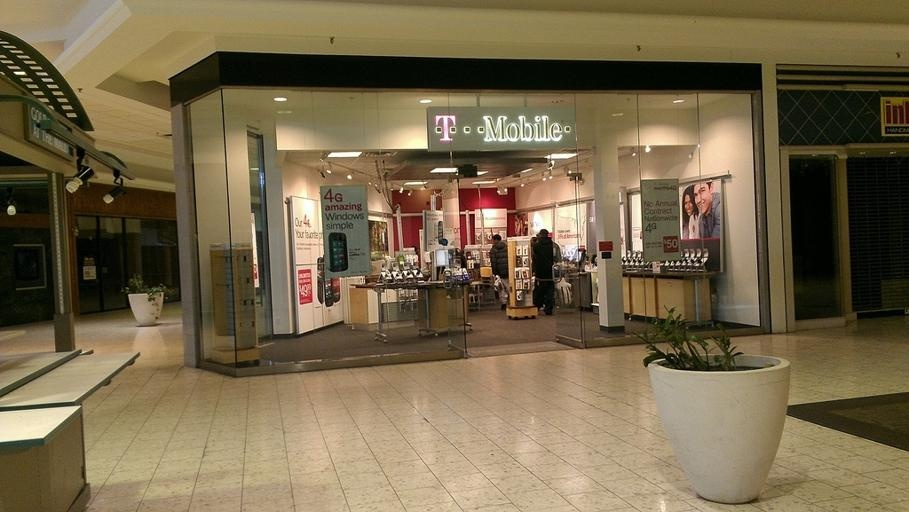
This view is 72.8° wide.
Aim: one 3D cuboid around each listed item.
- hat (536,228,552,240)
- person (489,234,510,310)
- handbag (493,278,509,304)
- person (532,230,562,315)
[{"bbox_3d":[2.028,-0.483,13.883,0.304,0.125,0.406,0,-3,4],"label":"hat"},{"bbox_3d":[1.114,0.465,15.141,0.451,1.951,0.783,-2,13,4],"label":"person"},{"bbox_3d":[1.165,0.857,15.160,0.159,0.526,0.623,-8,13,-41],"label":"handbag"},{"bbox_3d":[2.045,0.425,14.205,0.436,2.143,0.776,-3,13,0],"label":"person"}]
